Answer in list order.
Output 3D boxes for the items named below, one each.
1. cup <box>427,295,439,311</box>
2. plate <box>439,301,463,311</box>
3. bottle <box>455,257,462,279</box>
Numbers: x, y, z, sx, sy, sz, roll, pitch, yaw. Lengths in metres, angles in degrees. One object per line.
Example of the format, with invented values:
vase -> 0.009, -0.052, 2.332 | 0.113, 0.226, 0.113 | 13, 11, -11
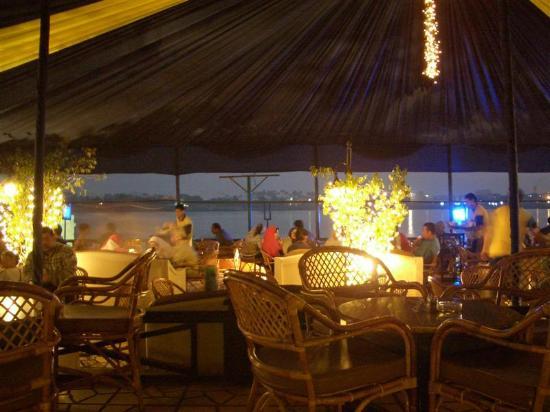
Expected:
cup -> 1.203, 0.754, 4.467 | 0.088, 0.127, 0.096 | -1, -6, 0
plate -> 1.336, 0.774, 4.494 | 0.101, 0.034, 0.098 | -3, -1, -16
bottle -> 2.849, 0.979, 9.097 | 0.081, 0.366, 0.253 | 1, 2, 15
